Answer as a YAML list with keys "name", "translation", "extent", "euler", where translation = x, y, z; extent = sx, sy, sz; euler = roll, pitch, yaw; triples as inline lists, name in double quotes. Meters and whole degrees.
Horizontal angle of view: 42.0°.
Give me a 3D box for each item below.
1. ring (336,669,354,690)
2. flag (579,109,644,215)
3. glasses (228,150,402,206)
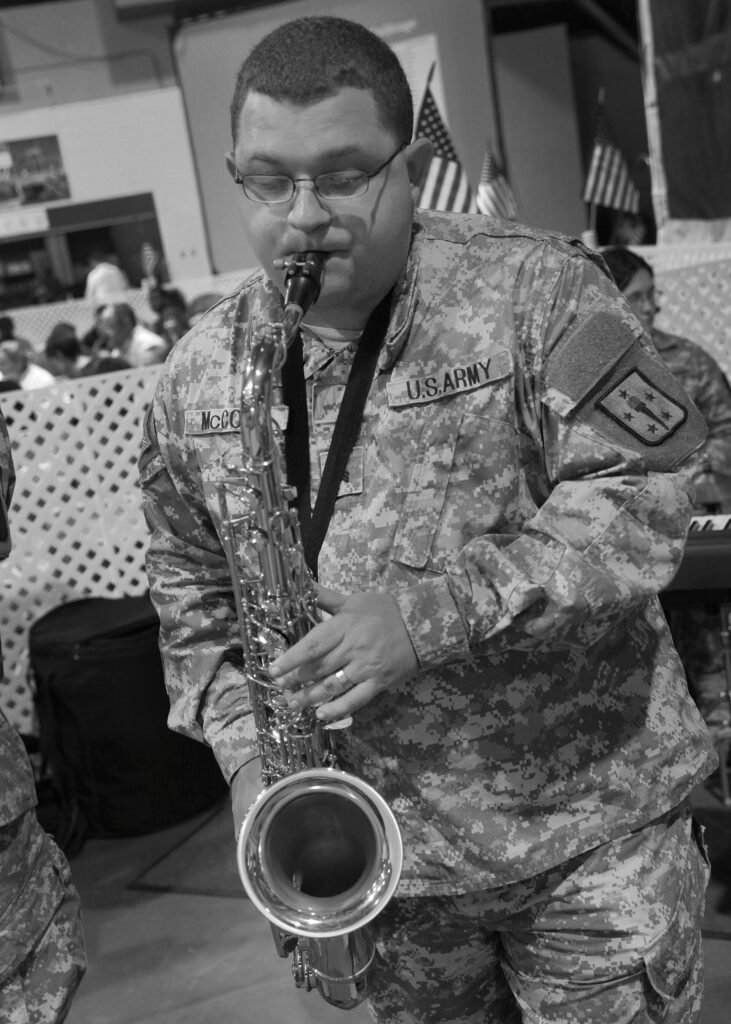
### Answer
- name: "ring"
  translation: [-0.018, 0.168, 0.954]
  extent: [0.021, 0.020, 0.021]
  euler: [-2, -7, 0]
- name: "flag"
  translation: [0.843, -1.234, 3.294]
  extent: [0.024, 0.352, 0.270]
  euler: [-20, 27, -5]
- name: "glasses"
  translation: [-0.044, -0.370, 1.060]
  extent: [0.193, 0.054, 0.101]
  euler: [-13, 16, -4]
